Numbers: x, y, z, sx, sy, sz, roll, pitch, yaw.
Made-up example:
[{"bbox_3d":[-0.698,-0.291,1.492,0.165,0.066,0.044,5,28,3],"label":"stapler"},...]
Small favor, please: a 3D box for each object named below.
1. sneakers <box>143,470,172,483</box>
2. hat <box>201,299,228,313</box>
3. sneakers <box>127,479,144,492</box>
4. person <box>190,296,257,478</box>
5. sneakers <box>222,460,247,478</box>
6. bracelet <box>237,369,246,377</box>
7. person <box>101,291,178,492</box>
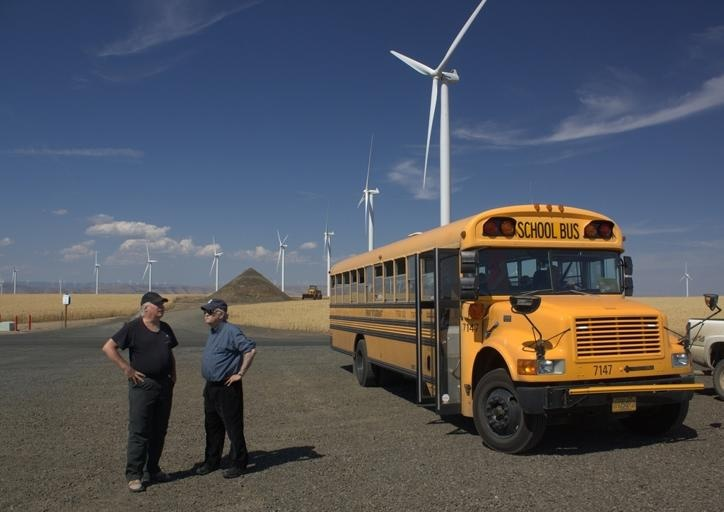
[{"bbox_3d":[-2.770,2.956,7.183,0.415,0.170,0.134,-1,2,-19],"label":"sneakers"},{"bbox_3d":[-2.103,0.696,7.468,0.338,0.164,0.212,5,-8,-14],"label":"hat"},{"bbox_3d":[-2.932,2.966,6.848,0.185,0.138,0.134,1,-5,-25],"label":"sneakers"},{"bbox_3d":[-1.924,1.809,7.422,0.816,2.416,0.589,-1,-4,-9],"label":"person"},{"bbox_3d":[-1.805,2.907,7.245,0.383,0.159,0.147,9,-7,-39],"label":"sneakers"},{"bbox_3d":[-1.676,1.604,7.280,0.043,0.096,0.107,23,-32,-19],"label":"bracelet"},{"bbox_3d":[-2.952,1.762,7.094,0.826,2.562,0.625,0,-4,-18],"label":"person"}]
